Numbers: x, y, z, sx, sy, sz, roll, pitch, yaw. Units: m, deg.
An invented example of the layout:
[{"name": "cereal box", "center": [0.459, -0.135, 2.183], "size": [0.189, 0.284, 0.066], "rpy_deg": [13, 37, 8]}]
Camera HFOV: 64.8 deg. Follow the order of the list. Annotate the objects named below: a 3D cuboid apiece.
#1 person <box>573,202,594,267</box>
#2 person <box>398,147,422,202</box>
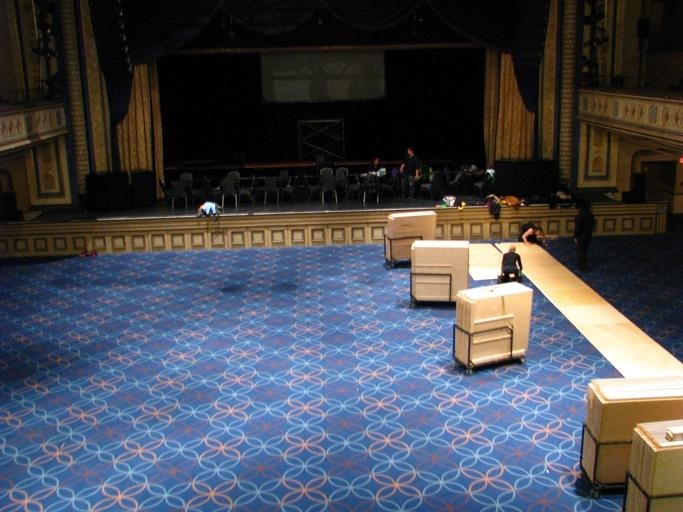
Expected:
[{"name": "person", "center": [5.263, -0.570, 11.689], "size": [0.342, 1.454, 1.402], "rpy_deg": [3, 16, 24]}, {"name": "person", "center": [1.920, -2.317, 15.044], "size": [0.619, 1.372, 1.180], "rpy_deg": [-2, 14, 6]}]
